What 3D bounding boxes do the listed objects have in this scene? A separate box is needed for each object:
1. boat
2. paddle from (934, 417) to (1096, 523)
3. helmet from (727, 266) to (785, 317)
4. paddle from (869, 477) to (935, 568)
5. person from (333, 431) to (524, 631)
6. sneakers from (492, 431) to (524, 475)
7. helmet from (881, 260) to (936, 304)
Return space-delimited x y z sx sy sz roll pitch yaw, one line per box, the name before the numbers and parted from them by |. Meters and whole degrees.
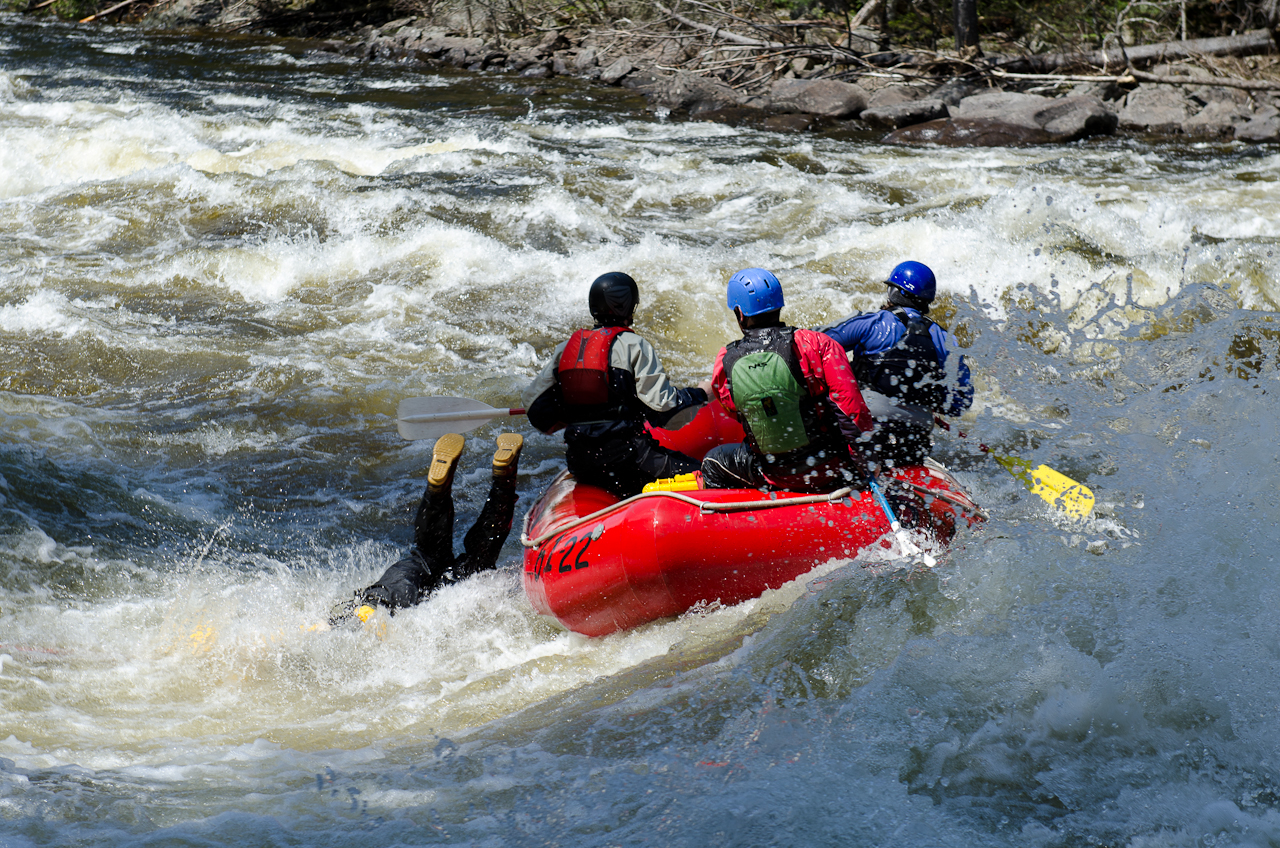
boat | 0.509 1.284 11.584 1.862 0.624 2.034 -17 1 -32
paddle | 2.997 0.392 12.040 1.553 0.455 0.162 29 5 41
helmet | 0.882 -1.019 11.614 0.336 0.268 0.430 -8 13 -14
paddle | 1.956 0.740 11.532 0.143 0.310 0.779 12 48 -55
person | -1.533 0.835 12.123 1.154 1.601 0.480 33 -3 18
sneakers | -1.034 0.210 12.100 0.202 0.336 0.116 4 -28 10
helmet | 2.160 -1.109 12.018 0.395 0.304 0.306 15 11 -42
